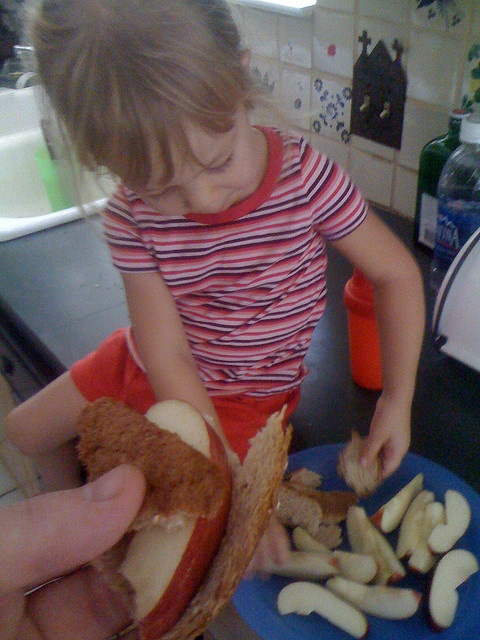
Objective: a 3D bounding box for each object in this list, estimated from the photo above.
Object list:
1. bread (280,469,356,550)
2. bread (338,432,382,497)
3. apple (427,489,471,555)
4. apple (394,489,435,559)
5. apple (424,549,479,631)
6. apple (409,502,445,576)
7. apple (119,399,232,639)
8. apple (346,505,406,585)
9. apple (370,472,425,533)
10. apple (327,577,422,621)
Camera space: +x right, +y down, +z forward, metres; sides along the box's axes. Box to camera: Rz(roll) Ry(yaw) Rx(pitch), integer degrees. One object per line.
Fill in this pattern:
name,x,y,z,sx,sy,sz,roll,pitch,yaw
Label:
bread,0.078,0.194,0.546,0.071,0.020,0.069,4,38,-33
bread,0.130,0.152,0.568,0.039,0.018,0.058,22,49,-16
apple,0.203,0.196,0.512,0.034,0.018,0.073,-7,27,39
apple,0.174,0.208,0.536,0.032,0.029,0.100,13,19,28
apple,0.180,0.230,0.463,0.038,0.020,0.085,25,54,9
apple,0.179,0.215,0.524,0.022,0.018,0.075,1,30,25
apple,-0.046,0.128,0.341,0.035,0.128,0.102,14,11,-23
apple,0.130,0.222,0.523,0.035,0.020,0.081,-26,32,-8
apple,0.161,0.190,0.549,0.027,0.021,0.077,3,41,51
apple,0.119,0.245,0.480,0.083,0.021,0.034,2,61,18
